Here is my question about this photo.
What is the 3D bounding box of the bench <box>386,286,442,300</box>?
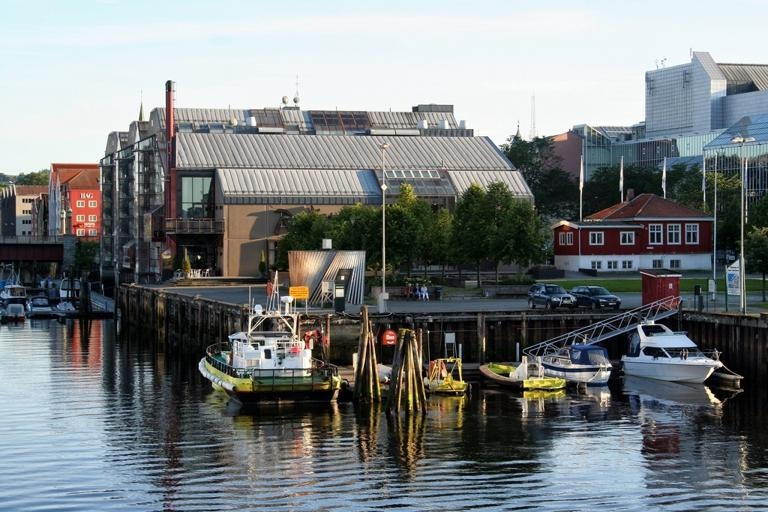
[{"bbox_3d":[3.592,3.398,148.059,4.431,1.274,1.055,3,-1,7],"label":"bench"}]

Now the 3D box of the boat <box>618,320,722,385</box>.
[{"bbox_3d":[22.293,7.739,126.677,3.574,3.925,8.680,-2,6,-26],"label":"boat"}]

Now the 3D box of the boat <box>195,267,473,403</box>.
[{"bbox_3d":[-7.784,8.167,124.441,14.507,10.926,10.763,0,-1,-18],"label":"boat"}]

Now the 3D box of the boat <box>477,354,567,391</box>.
[{"bbox_3d":[10.883,9.487,124.450,6.126,1.984,2.838,0,5,22],"label":"boat"}]

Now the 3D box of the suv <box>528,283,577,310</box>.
[{"bbox_3d":[14.765,3.451,140.228,2.482,1.635,5.138,-2,0,-31],"label":"suv"}]
